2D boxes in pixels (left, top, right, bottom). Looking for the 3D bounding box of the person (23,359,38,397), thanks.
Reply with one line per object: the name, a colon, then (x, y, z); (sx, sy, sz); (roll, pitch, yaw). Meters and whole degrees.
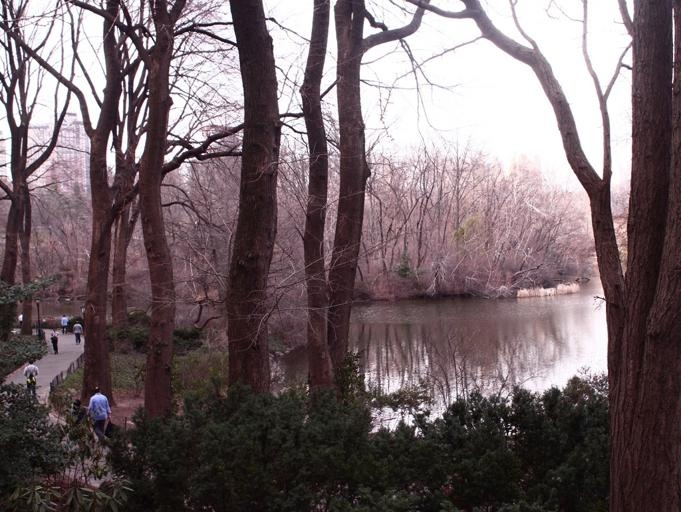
person: (-7.924, 3.157, 19.277); (0.300, 1.038, 0.288); (-3, 17, -28)
